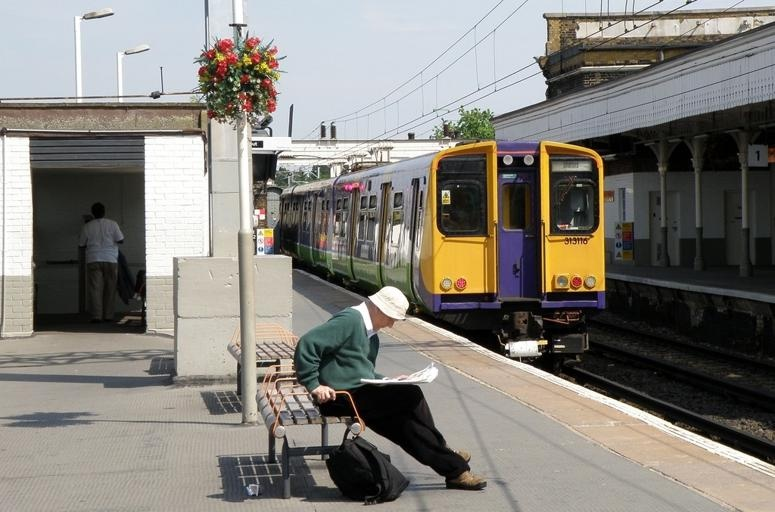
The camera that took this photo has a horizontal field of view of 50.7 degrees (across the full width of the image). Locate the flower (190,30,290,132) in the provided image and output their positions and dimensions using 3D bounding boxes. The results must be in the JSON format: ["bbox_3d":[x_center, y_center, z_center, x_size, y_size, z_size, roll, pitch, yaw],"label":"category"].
[{"bbox_3d":[-1.840,-2.119,10.080,0.855,0.748,0.992,-14,3,11],"label":"flower"}]

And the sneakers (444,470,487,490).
[{"bbox_3d":[0.798,2.276,8.283,0.446,0.213,0.168,-2,3,0],"label":"sneakers"}]

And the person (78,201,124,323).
[{"bbox_3d":[-5.723,0.313,16.313,0.752,2.110,0.406,-1,6,-21],"label":"person"}]

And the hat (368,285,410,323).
[{"bbox_3d":[0.044,0.514,8.186,0.358,0.171,0.325,30,17,-50],"label":"hat"}]
